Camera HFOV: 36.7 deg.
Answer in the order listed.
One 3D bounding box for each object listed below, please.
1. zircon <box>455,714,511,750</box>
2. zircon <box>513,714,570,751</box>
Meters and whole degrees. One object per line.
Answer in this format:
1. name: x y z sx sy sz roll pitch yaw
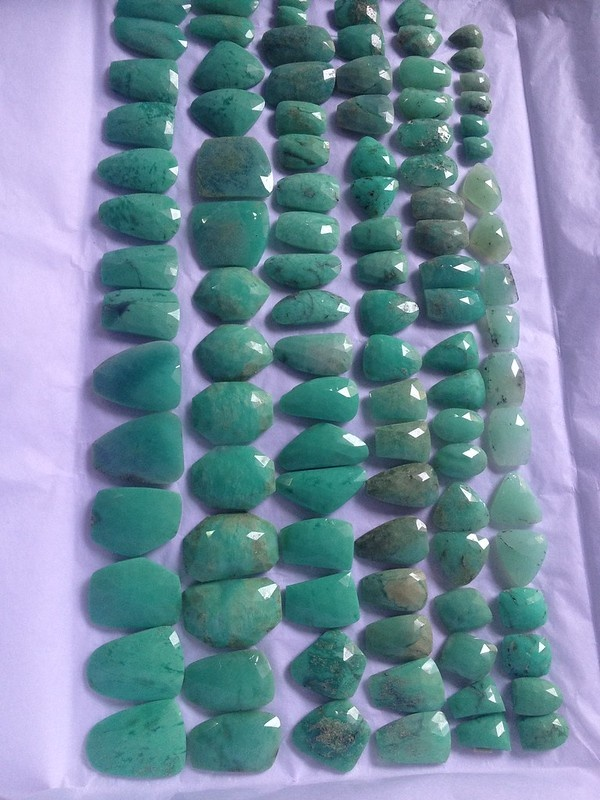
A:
1. zircon: 0.198 0.365 0.987 0.055 0.026 0.035 -6 58 -8
2. zircon: 0.267 0.364 0.994 0.052 0.019 0.033 -6 57 -8
